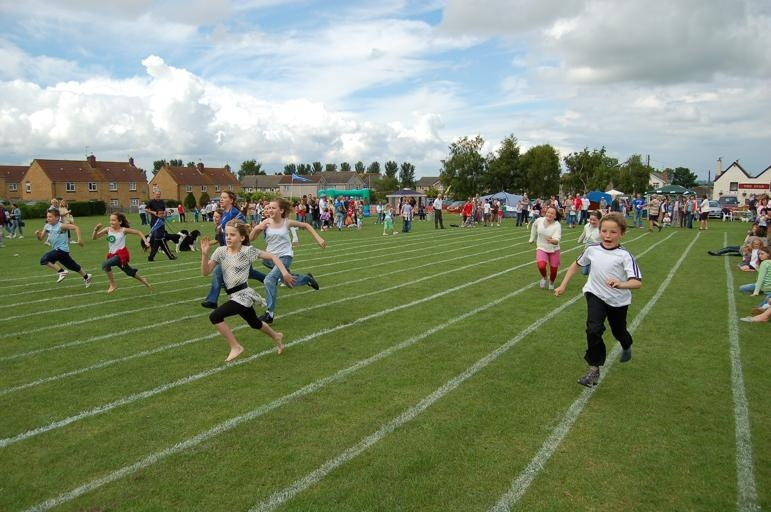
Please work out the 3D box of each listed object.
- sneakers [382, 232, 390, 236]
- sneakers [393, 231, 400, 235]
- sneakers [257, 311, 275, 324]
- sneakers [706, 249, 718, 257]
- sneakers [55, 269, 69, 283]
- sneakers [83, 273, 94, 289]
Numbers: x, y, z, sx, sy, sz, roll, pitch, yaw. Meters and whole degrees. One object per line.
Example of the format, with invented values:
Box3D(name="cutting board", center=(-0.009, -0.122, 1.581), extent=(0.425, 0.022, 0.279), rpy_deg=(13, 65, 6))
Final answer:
Box3D(name="sneakers", center=(-0.057, -1.162, 26.434), extent=(0.318, 0.223, 0.114), rpy_deg=(-6, -1, 34))
Box3D(name="sneakers", center=(0.519, -1.262, 27.239), extent=(0.125, 0.160, 0.380), rpy_deg=(3, 9, 35))
Box3D(name="sneakers", center=(-2.153, 1.117, 9.032), extent=(0.459, 0.209, 0.167), rpy_deg=(10, -4, -16))
Box3D(name="sneakers", center=(11.061, -0.089, 17.013), extent=(0.174, 0.136, 0.411), rpy_deg=(35, 8, -13))
Box3D(name="sneakers", center=(-8.573, 0.541, 13.204), extent=(0.369, 0.179, 0.127), rpy_deg=(-39, 7, 20))
Box3D(name="sneakers", center=(-7.476, 0.638, 12.514), extent=(0.160, 0.363, 0.119), rpy_deg=(7, 2, -37))
